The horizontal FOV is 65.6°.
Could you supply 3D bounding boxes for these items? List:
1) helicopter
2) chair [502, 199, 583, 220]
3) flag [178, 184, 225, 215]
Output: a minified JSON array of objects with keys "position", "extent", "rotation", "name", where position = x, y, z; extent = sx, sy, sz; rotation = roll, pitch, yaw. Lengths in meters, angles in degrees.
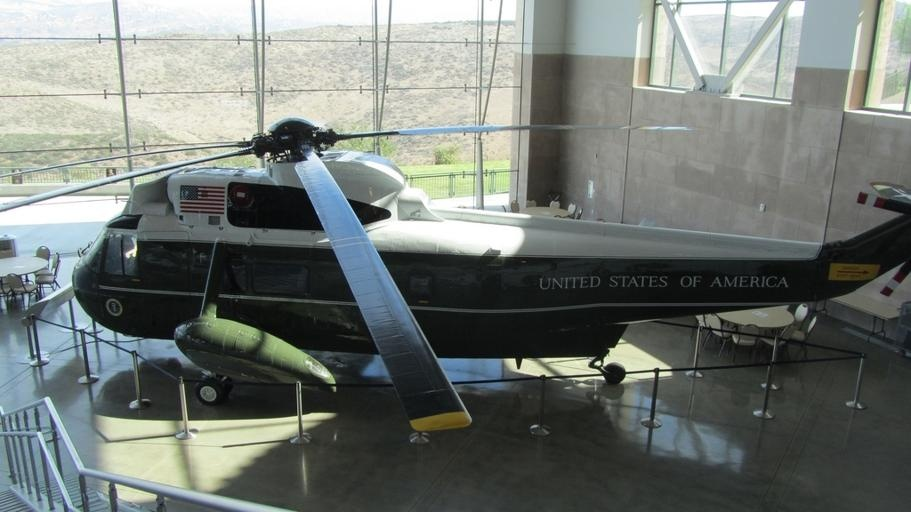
[{"position":[-0.036,0.928,17.831],"extent":[15.019,2.974,9.196],"rotation":[3,21,1],"name":"helicopter"},{"position":[3.032,-1.579,23.826],"extent":[1.660,0.507,1.416],"rotation":[8,17,28],"name":"chair"},{"position":[-6.070,-1.390,17.003],"extent":[1.186,0.505,0.043],"rotation":[2,7,2],"name":"flag"}]
